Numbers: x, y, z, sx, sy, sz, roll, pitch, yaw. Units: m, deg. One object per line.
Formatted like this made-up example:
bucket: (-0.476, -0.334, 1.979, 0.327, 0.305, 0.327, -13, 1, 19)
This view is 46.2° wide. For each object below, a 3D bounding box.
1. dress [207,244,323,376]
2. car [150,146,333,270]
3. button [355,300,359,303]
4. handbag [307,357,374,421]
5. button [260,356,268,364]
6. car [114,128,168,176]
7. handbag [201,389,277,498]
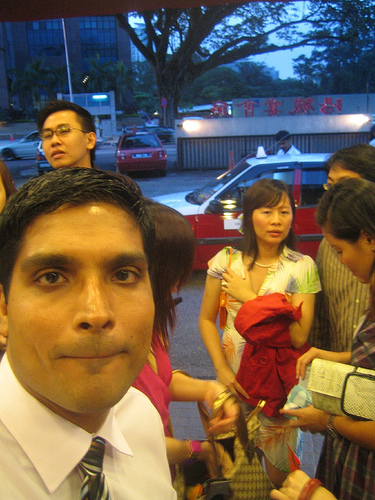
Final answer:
dress: (0.440, 0.315, 2.517, 0.610, 0.632, 0.477, -3, 15, -2)
car: (0.802, -0.661, 6.608, 2.735, 1.224, 1.594, 2, 5, 1)
button: (0.831, 0.256, 2.154, 0.006, 0.013, 0.018, -16, 20, -40)
handbag: (0.566, 0.513, 1.597, 0.255, 0.201, 0.083, 10, 20, 41)
button: (0.376, 0.545, 2.155, 0.049, 0.038, 0.010, -2, -7, 19)
car: (-2.124, -4.509, 19.320, 2.423, 1.595, 3.554, -3, 28, -4)
handbag: (0.175, 0.670, 1.488, 0.215, 0.243, 0.418, -1, 13, 2)
